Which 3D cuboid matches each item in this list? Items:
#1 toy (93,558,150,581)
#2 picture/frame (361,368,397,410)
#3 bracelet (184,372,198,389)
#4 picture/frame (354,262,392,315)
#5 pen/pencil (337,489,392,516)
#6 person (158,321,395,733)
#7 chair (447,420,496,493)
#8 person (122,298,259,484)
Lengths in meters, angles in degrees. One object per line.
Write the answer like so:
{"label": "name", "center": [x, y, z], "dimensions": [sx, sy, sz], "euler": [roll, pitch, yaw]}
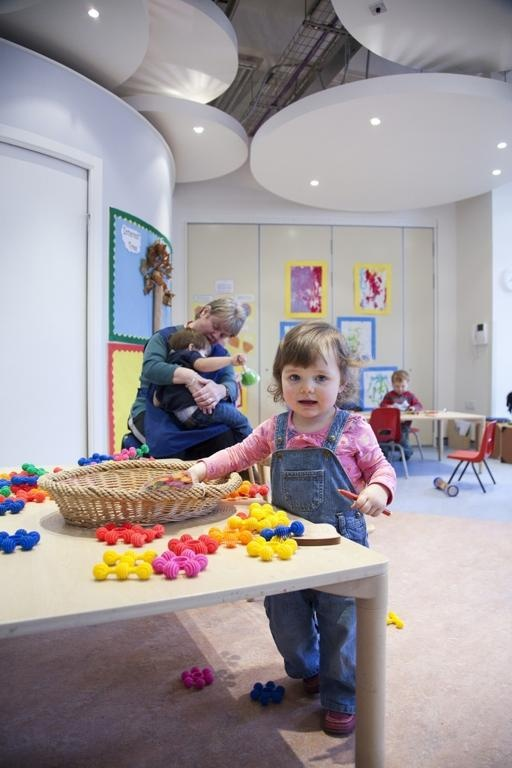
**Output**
{"label": "toy", "center": [-0.185, 0.260, 0.787], "dimensions": [0.078, 0.025, 0.041], "euler": [1, 0, -11]}
{"label": "picture/frame", "center": [1.503, 0.058, 6.967], "dimensions": [0.529, 0.619, 0.064], "euler": [1, -4, -6]}
{"label": "bracelet", "center": [-0.209, -0.013, 1.847], "dimensions": [0.038, 0.047, 0.051], "euler": [1, -16, -5]}
{"label": "picture/frame", "center": [1.483, -1.246, 7.257], "dimensions": [0.676, 0.872, 0.042], "euler": [1, -3, -13]}
{"label": "pen/pencil", "center": [0.222, 0.244, 1.169], "dimensions": [0.149, 0.021, 0.021], "euler": [24, 6, -19]}
{"label": "person", "center": [0.085, 0.321, 1.300], "dimensions": [0.478, 0.886, 0.359], "euler": [0, 1, 20]}
{"label": "chair", "center": [2.146, 0.717, 5.557], "dimensions": [0.558, 0.923, 0.546], "euler": [1, -1, 20]}
{"label": "person", "center": [-0.212, 0.103, 2.031], "dimensions": [0.426, 0.837, 0.346], "euler": [-3, -6, 27]}
